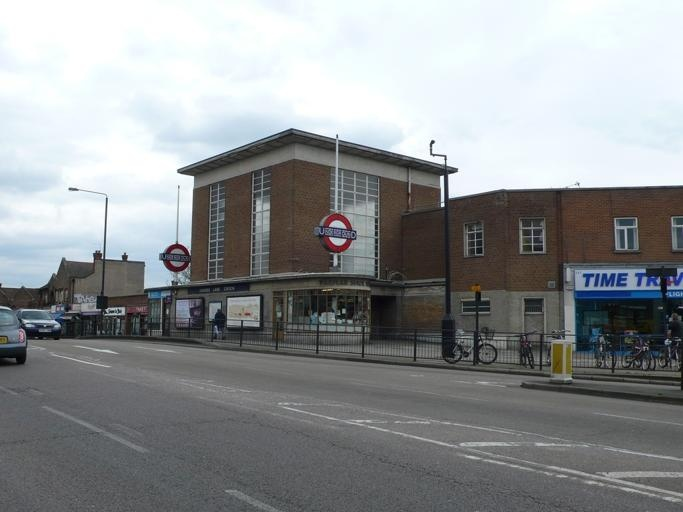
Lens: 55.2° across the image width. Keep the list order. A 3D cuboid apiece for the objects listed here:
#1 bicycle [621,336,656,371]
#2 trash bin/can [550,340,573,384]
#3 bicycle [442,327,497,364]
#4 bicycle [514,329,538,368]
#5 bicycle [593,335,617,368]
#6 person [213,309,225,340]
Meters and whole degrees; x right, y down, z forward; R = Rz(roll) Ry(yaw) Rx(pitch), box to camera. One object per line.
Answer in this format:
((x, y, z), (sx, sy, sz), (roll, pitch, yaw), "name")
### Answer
((10.193, 3.420, 22.544), (0.741, 0.884, 1.423), (6, -15, -16), "bicycle")
((6.067, 2.875, 18.049), (0.536, 1.131, 0.598), (1, -3, 14), "trash bin/can")
((4.952, 3.516, 25.126), (1.923, 1.198, 1.383), (1, -3, 10), "bicycle")
((6.844, 3.429, 24.190), (0.845, 1.123, 1.828), (-3, -2, 20), "bicycle")
((9.011, 3.144, 22.536), (0.944, 0.419, 0.561), (-18, 4, 9), "bicycle")
((-6.888, 3.811, 36.547), (0.619, 1.551, 0.949), (2, -3, -9), "person")
